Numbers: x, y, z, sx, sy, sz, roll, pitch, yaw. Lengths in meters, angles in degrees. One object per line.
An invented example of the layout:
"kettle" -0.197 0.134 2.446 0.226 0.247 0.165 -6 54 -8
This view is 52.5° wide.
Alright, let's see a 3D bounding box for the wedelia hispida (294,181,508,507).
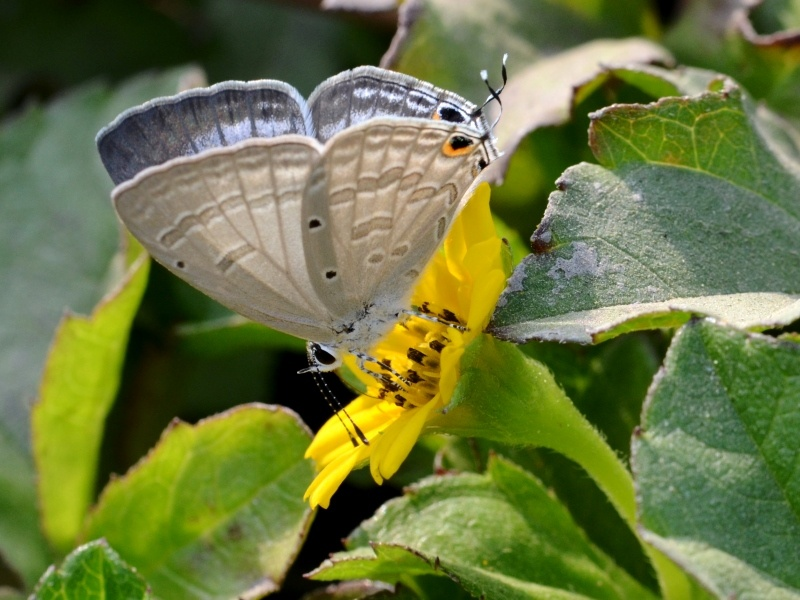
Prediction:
"wedelia hispida" 0.034 0.085 1.215 0.286 0.522 0.455 -4 25 -10
